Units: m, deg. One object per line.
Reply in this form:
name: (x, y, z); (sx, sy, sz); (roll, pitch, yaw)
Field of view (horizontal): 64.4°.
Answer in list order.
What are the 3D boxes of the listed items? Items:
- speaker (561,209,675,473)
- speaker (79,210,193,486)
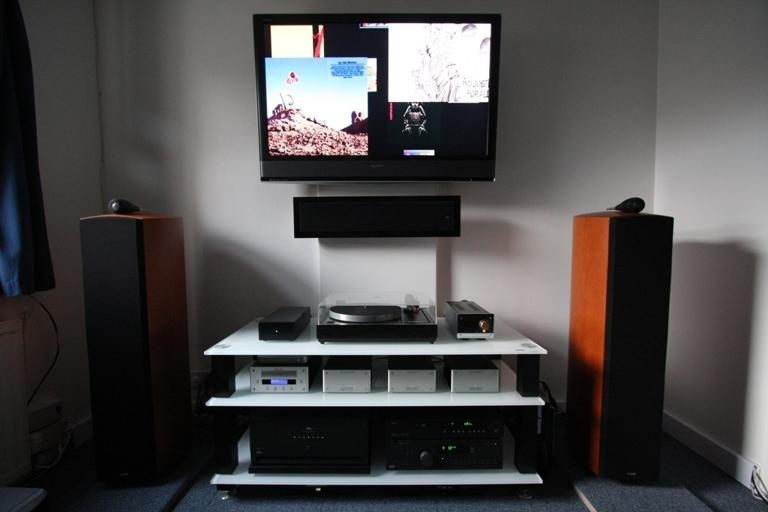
speaker: (1.336, 0.511, 3.536); (0.609, 1.508, 0.426); (6, 13, 24)
speaker: (-1.410, 0.524, 3.541); (0.553, 1.511, 0.475); (-4, 13, -23)
